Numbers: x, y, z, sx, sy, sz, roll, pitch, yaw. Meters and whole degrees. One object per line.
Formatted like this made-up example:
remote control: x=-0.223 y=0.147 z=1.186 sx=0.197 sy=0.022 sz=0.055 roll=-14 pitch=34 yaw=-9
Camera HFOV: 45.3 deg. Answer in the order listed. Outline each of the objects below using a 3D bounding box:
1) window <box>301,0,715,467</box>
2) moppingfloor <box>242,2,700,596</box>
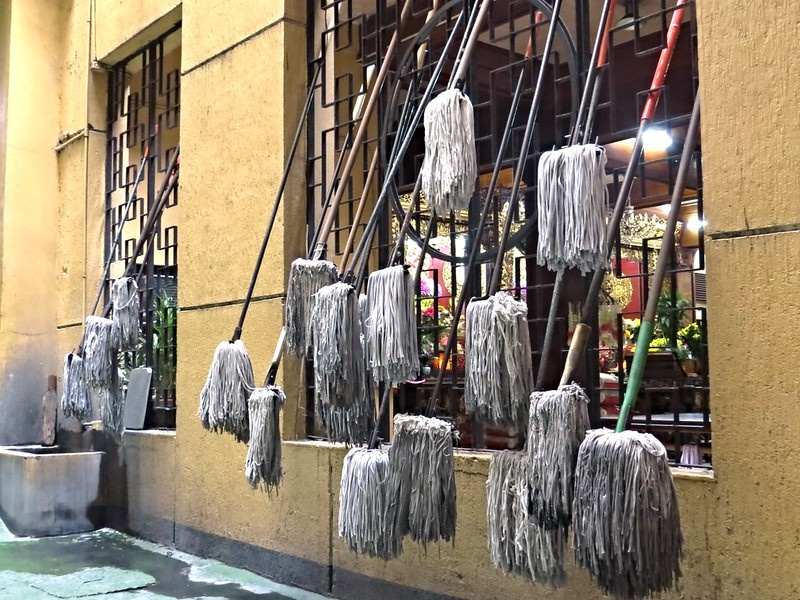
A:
window: x=0.414 y=-0.344 z=4.091 sx=1.243 sy=2.756 sz=0.578 roll=0 pitch=-3 yaw=24
moppingfloor: x=0.473 y=0.168 z=2.861 sx=0.412 sy=1.736 sz=0.879 roll=20 pitch=-14 yaw=-41
